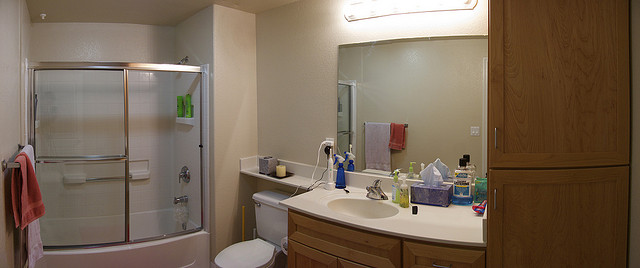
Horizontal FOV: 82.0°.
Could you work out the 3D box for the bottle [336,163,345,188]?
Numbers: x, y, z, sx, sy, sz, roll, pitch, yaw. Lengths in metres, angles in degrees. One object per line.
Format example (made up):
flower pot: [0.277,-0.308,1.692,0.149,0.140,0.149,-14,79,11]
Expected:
bottle: [0.287,0.583,5.186,0.116,0.349,0.060,0,5,2]

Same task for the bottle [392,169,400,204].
bottle: [1.007,0.695,4.871,0.083,0.420,0.128,0,5,10]

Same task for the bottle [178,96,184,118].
bottle: [-2.236,-0.434,5.864,0.161,0.340,0.044,3,7,36]

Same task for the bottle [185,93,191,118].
bottle: [-2.093,-0.453,5.783,0.154,0.384,0.034,4,7,41]

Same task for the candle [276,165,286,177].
candle: [-0.600,0.557,5.608,0.144,0.156,0.151,-1,5,-8]

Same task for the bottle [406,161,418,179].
bottle: [1.245,0.484,4.970,0.140,0.233,0.026,1,5,13]
